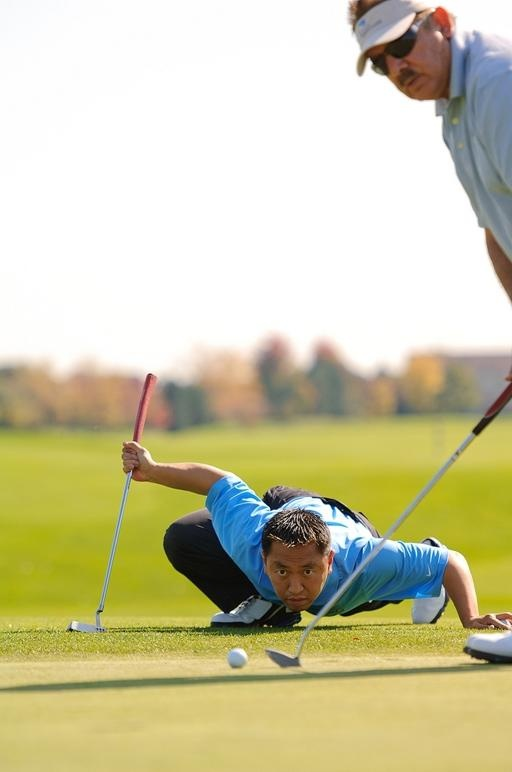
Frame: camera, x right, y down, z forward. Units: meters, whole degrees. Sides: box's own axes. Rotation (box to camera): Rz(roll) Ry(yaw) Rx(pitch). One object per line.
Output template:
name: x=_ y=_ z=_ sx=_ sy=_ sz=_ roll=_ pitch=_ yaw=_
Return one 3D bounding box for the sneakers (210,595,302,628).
sneakers: x=0.000 y=0.933 z=4.581 sx=0.399 sy=0.152 sz=0.132 roll=4 pitch=-6 yaw=-9

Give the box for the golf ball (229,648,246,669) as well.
golf ball: x=-0.050 y=0.745 z=2.982 sx=0.051 sy=0.054 sz=0.075 roll=0 pitch=2 yaw=-3

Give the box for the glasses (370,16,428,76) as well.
glasses: x=0.464 y=-1.132 z=3.676 sx=0.116 sy=0.185 sz=0.212 roll=-2 pitch=2 yaw=-43

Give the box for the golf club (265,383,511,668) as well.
golf club: x=1.174 y=0.932 z=9.642 sx=0.128 sy=2.270 sz=0.385 roll=39 pitch=-13 yaw=50
